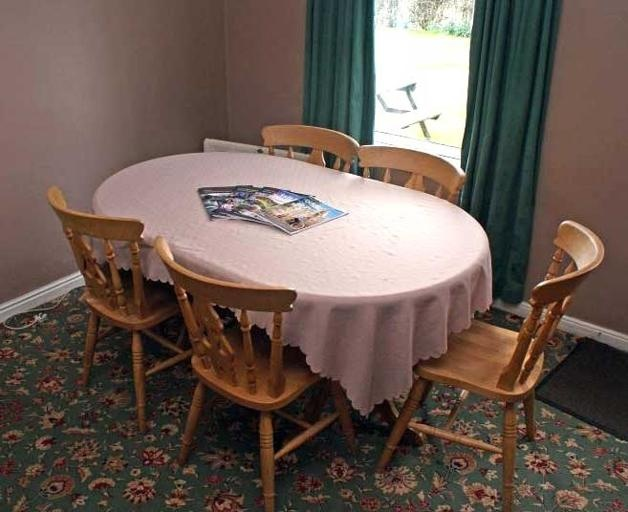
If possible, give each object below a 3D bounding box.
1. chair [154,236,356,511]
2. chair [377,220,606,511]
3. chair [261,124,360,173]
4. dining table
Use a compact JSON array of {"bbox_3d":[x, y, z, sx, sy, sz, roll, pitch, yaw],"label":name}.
[{"bbox_3d":[-0.207,0.461,1.898,0.677,0.875,0.626,22,38,29],"label":"chair"},{"bbox_3d":[0.692,0.391,1.963,0.514,1.020,0.685,19,34,26],"label":"chair"},{"bbox_3d":[-0.013,-0.645,2.989,0.410,0.381,0.273,12,47,14],"label":"chair"},{"bbox_3d":[-0.219,0.122,2.270,1.745,0.429,1.071,22,36,37],"label":"dining table"}]
